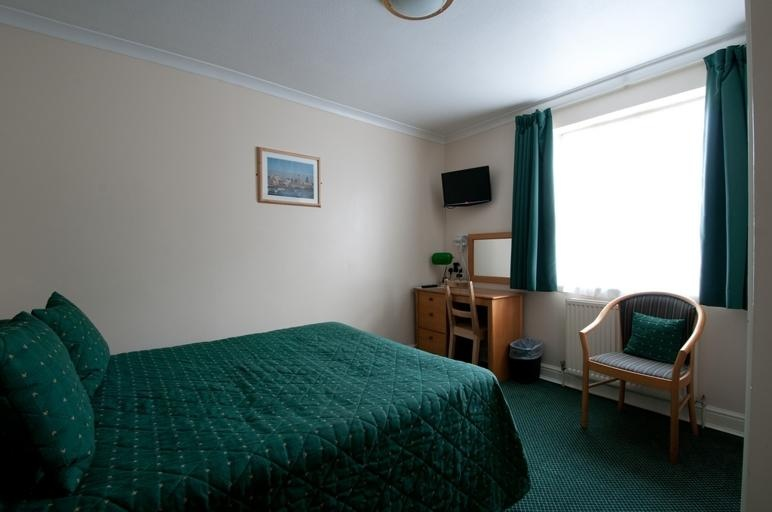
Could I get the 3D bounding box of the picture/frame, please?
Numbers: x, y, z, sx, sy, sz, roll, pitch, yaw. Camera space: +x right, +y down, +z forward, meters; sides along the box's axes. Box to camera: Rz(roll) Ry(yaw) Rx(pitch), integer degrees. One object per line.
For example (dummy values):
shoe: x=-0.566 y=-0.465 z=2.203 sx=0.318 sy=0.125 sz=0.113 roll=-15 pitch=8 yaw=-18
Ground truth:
picture/frame: x=-1.024 y=-0.809 z=4.949 sx=0.663 sy=0.531 sz=0.065 roll=1 pitch=-3 yaw=-36

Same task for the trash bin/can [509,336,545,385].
trash bin/can: x=1.455 y=1.087 z=5.199 sx=0.367 sy=0.378 sz=0.351 roll=11 pitch=-15 yaw=32

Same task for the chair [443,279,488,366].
chair: x=0.965 y=0.721 z=5.298 sx=0.544 sy=0.921 sz=0.515 roll=-1 pitch=3 yaw=-25

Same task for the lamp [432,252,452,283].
lamp: x=0.695 y=0.152 z=6.109 sx=0.283 sy=0.393 sz=0.288 roll=4 pitch=5 yaw=9

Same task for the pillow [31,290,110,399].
pillow: x=-2.171 y=0.551 z=3.363 sx=0.333 sy=0.572 sz=0.660 roll=-11 pitch=11 yaw=-23

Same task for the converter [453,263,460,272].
converter: x=0.884 y=0.138 z=6.124 sx=0.087 sy=0.130 sz=0.095 roll=-2 pitch=-3 yaw=33

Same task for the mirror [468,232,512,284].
mirror: x=1.235 y=0.021 z=5.701 sx=0.063 sy=0.523 sz=0.592 roll=-1 pitch=3 yaw=-38

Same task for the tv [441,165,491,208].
tv: x=0.965 y=-0.820 z=5.772 sx=0.078 sy=0.398 sz=0.543 roll=-22 pitch=16 yaw=-39

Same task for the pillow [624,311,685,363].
pillow: x=2.293 y=0.701 z=4.162 sx=0.438 sy=0.389 sz=0.233 roll=8 pitch=-3 yaw=26

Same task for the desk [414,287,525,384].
desk: x=0.872 y=0.843 z=5.679 sx=1.008 sy=0.840 sz=0.604 roll=3 pitch=3 yaw=31

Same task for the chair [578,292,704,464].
chair: x=2.206 y=0.934 z=4.200 sx=0.872 sy=1.229 sz=0.732 roll=7 pitch=6 yaw=38
